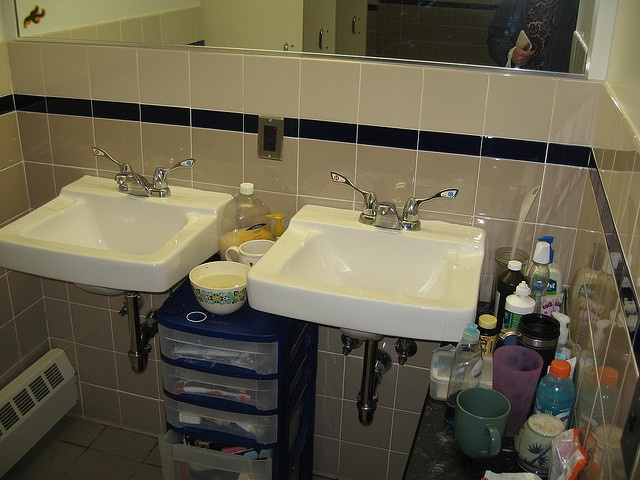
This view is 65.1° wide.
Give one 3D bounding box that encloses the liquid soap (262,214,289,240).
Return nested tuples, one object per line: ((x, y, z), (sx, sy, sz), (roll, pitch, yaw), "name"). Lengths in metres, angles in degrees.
((-0.166, -0.052, 1.888), (0.091, 0.164, 0.061), (-1, 44, -5), "liquid soap")

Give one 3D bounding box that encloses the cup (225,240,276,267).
((-0.251, 0.039, 1.757), (0.145, 0.108, 0.095), (-6, 37, -6), "cup")

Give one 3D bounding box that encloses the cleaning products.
((0.391, 0.358, 1.364), (0.074, 0.297, 0.067), (3, 17, -1), "cleaning products")

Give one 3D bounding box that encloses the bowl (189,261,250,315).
((-0.323, 0.146, 1.650), (0.178, 0.110, 0.176), (2, 27, -1), "bowl")

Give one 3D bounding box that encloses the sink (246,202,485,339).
((0.183, 0.107, 1.653), (0.707, 0.188, 0.556), (8, 27, 11), "sink")

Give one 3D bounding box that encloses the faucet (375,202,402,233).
((0.237, -0.079, 1.746), (0.115, 0.095, 0.080), (10, 35, 16), "faucet")

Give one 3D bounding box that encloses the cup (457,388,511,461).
((0.392, 0.444, 1.221), (0.121, 0.133, 0.169), (4, 28, 11), "cup")

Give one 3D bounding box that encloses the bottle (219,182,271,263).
((-0.274, -0.055, 1.842), (0.227, 0.419, 0.150), (-3, 14, -12), "bottle")

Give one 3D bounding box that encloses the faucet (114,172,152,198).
((-0.732, -0.216, 1.958), (0.135, 0.074, 0.083), (14, 29, -3), "faucet")
